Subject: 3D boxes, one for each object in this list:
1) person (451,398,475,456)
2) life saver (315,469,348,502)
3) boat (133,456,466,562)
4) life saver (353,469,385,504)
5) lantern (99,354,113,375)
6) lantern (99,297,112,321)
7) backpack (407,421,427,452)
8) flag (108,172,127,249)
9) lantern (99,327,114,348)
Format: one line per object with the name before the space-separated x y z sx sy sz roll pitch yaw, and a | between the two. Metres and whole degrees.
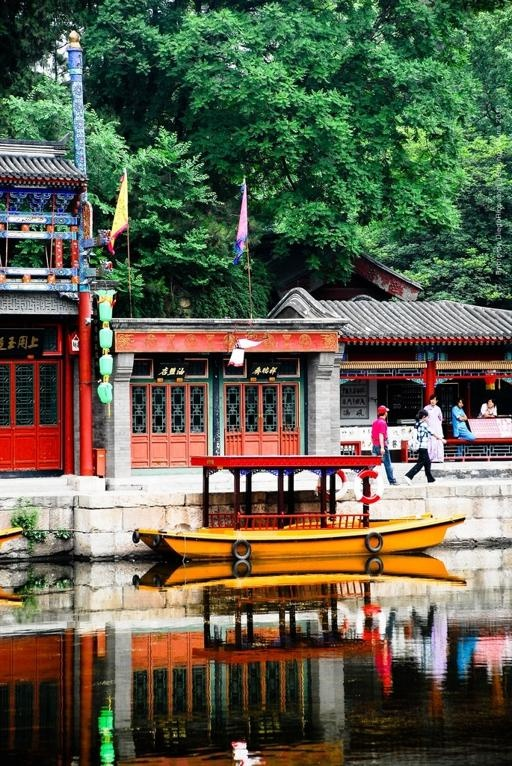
person | 4.173 0.871 36.934 0.428 1.052 0.954 1 8 7
life saver | 1.305 1.727 31.293 0.133 0.572 0.498 -5 2 -45
boat | 0.651 2.032 30.559 4.867 1.816 1.765 -2 8 -13
life saver | 1.904 1.719 30.769 0.128 0.574 0.518 -2 6 29
lantern | -2.658 -0.336 33.381 0.284 0.470 0.311 0 2 -18
lantern | -2.697 -1.330 33.546 0.285 0.531 0.315 -1 6 -21
backpack | 3.050 1.019 34.811 0.347 0.713 0.495 2 -8 -2
flag | -2.523 -3.324 34.747 0.266 1.555 0.145 2 38 -7
lantern | -2.693 -0.812 33.326 0.204 0.377 0.288 -1 8 -6
